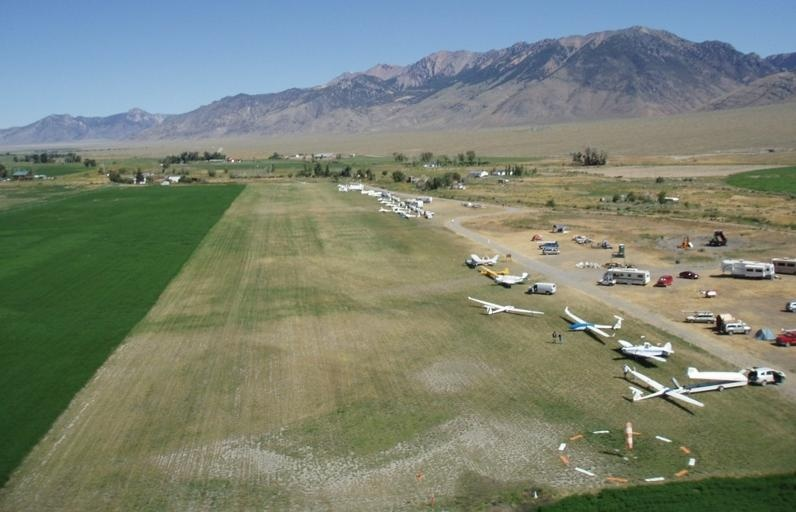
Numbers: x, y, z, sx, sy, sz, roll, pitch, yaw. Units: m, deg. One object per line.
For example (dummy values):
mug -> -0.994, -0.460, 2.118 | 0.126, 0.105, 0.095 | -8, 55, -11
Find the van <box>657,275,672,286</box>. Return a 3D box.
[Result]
van -> 34.684, 3.089, 68.377 | 1.781, 1.016, 2.108 | 5, 16, 27

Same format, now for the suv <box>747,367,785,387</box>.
suv -> 34.376, 11.225, 49.038 | 3.301, 0.817, 1.693 | -5, 22, -3

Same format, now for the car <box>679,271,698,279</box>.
car -> 38.742, 2.370, 70.024 | 2.384, 0.778, 1.698 | 6, 17, 31

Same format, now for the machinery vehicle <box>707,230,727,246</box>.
machinery vehicle -> 51.100, -2.961, 83.860 | 2.687, 2.010, 3.367 | 5, 17, 27

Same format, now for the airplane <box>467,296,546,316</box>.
airplane -> 12.372, 6.156, 62.766 | 8.672, 0.887, 3.241 | 5, 15, 30

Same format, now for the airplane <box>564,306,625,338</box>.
airplane -> 21.395, 7.607, 58.459 | 6.291, 1.522, 5.035 | 3, 15, 23

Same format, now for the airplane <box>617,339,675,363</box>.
airplane -> 25.140, 9.506, 52.797 | 3.542, 0.696, 3.102 | 2, 8, -11

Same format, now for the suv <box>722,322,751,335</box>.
suv -> 35.960, 7.637, 56.052 | 3.202, 0.829, 1.204 | -2, 14, 3

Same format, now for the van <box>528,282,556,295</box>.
van -> 18.338, 4.069, 67.308 | 3.253, 0.840, 1.762 | 3, 7, 19

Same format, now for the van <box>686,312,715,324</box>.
van -> 33.772, 6.783, 58.388 | 2.946, 0.639, 1.292 | 1, 7, 10
